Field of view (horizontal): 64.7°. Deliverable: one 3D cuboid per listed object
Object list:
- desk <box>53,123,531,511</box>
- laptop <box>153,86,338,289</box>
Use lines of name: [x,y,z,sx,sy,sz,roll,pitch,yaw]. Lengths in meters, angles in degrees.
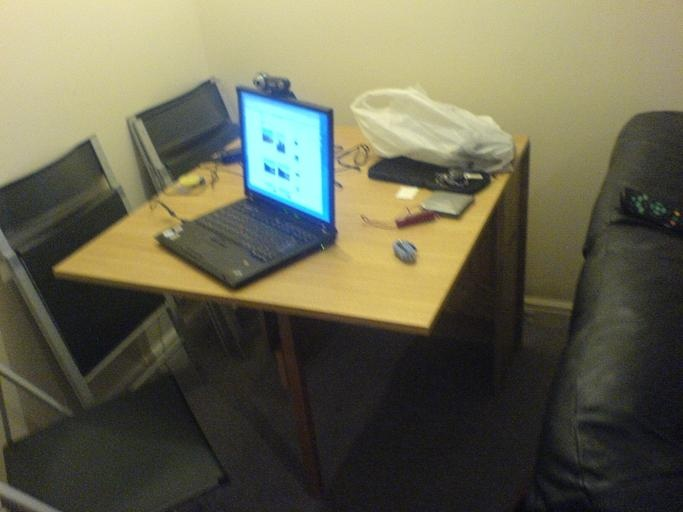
desk: [-0.056,0.087,1.547,0.958,0.617,0.999,8,36,13]
laptop: [-0.239,-0.198,1.314,0.452,0.340,0.440,1,30,1]
